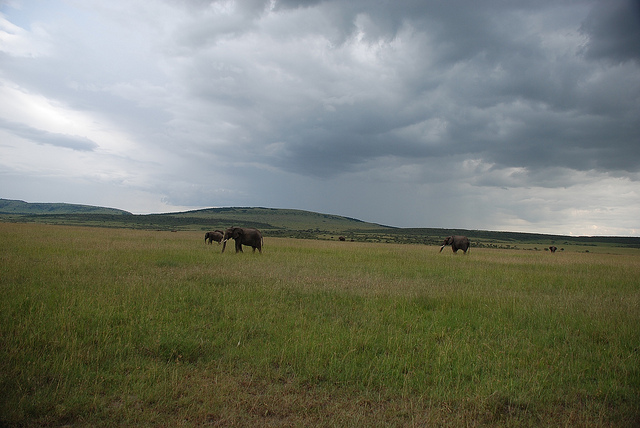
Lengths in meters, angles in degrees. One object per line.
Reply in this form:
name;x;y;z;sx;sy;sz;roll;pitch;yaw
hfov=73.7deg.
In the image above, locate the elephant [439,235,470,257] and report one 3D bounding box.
elephant;14.414;3.275;45.549;1.757;2.513;3.694;5;-3;-42
